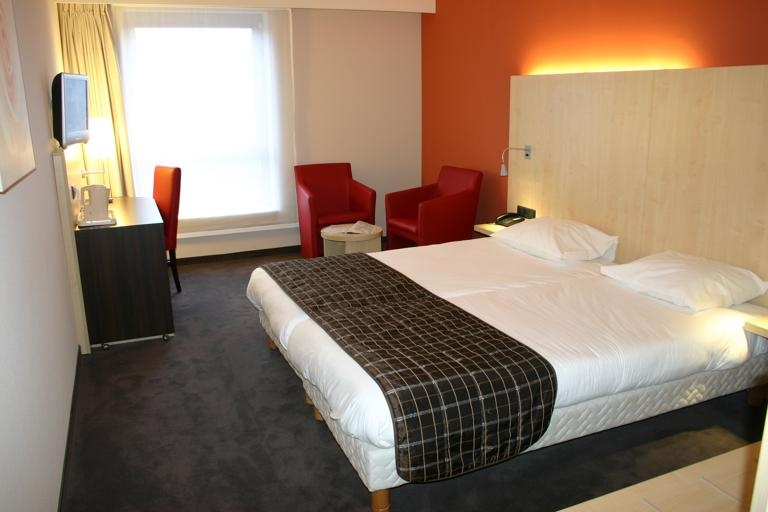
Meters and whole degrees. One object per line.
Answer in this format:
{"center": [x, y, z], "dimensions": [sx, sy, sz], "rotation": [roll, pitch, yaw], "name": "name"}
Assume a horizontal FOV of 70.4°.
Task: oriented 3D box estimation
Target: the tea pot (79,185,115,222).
{"center": [-2.615, -0.477, 4.907], "dimensions": [0.287, 0.332, 0.429], "rotation": [-12, 22, -26], "name": "tea pot"}

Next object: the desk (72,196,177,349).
{"center": [-2.371, 0.187, 4.909], "dimensions": [0.458, 0.649, 1.294], "rotation": [-5, 17, -17], "name": "desk"}

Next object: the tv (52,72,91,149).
{"center": [-2.860, -1.326, 4.987], "dimensions": [0.270, 0.654, 0.924], "rotation": [-9, 21, -19], "name": "tv"}

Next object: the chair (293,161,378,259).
{"center": [-0.672, -0.659, 7.067], "dimensions": [1.099, 1.463, 1.189], "rotation": [-4, 11, -23], "name": "chair"}

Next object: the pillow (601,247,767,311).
{"center": [2.302, 0.169, 3.998], "dimensions": [0.534, 0.171, 0.560], "rotation": [-7, 14, -27], "name": "pillow"}

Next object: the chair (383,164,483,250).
{"center": [0.540, -0.622, 6.838], "dimensions": [1.108, 1.379, 0.963], "rotation": [-11, 20, -33], "name": "chair"}

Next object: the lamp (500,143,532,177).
{"center": [1.372, -1.005, 5.710], "dimensions": [0.394, 0.255, 0.140], "rotation": [-14, 17, -24], "name": "lamp"}

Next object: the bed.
{"center": [0.926, 0.567, 3.614], "dimensions": [2.369, 0.661, 2.057], "rotation": [-8, 25, -15], "name": "bed"}
